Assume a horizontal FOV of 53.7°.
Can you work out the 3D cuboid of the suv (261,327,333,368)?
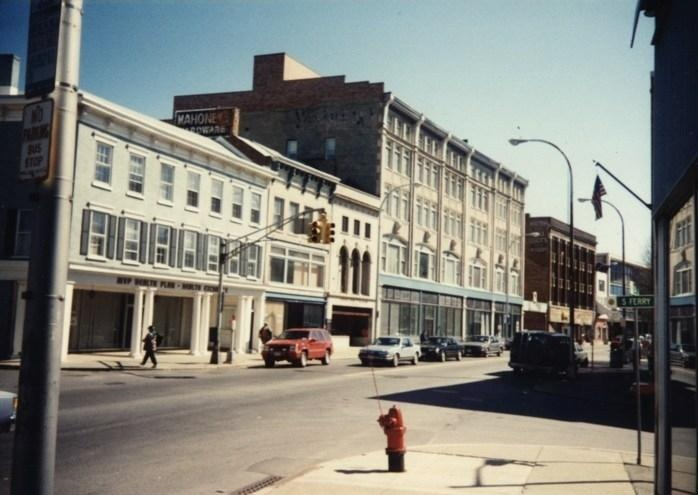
[{"bbox_3d":[-2.607,5.307,36.901,2.558,2.067,4.836,-1,-7,22],"label":"suv"}]

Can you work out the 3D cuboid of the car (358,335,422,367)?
[{"bbox_3d":[2.295,5.926,39.338,1.637,1.800,4.172,-9,-15,33],"label":"car"}]

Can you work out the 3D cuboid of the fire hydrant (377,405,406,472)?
[{"bbox_3d":[0.839,3.674,13.186,0.461,1.212,0.655,-2,-11,1],"label":"fire hydrant"}]
